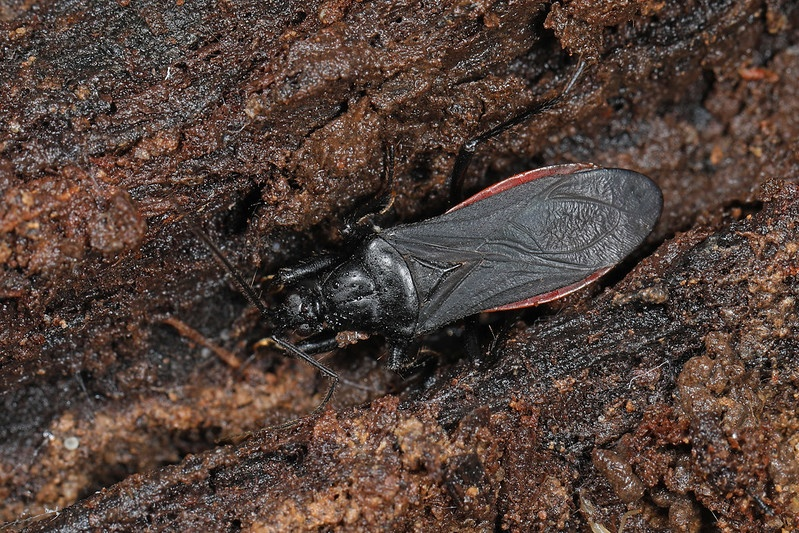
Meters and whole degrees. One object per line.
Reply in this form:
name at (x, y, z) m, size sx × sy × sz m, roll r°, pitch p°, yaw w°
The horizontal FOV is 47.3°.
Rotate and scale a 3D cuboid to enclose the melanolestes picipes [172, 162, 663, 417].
melanolestes picipes at (0.631, -0.027, 7.961) m, size 3.445 × 1.077 × 0.955 m, roll -22°, pitch 52°, yaw 4°
